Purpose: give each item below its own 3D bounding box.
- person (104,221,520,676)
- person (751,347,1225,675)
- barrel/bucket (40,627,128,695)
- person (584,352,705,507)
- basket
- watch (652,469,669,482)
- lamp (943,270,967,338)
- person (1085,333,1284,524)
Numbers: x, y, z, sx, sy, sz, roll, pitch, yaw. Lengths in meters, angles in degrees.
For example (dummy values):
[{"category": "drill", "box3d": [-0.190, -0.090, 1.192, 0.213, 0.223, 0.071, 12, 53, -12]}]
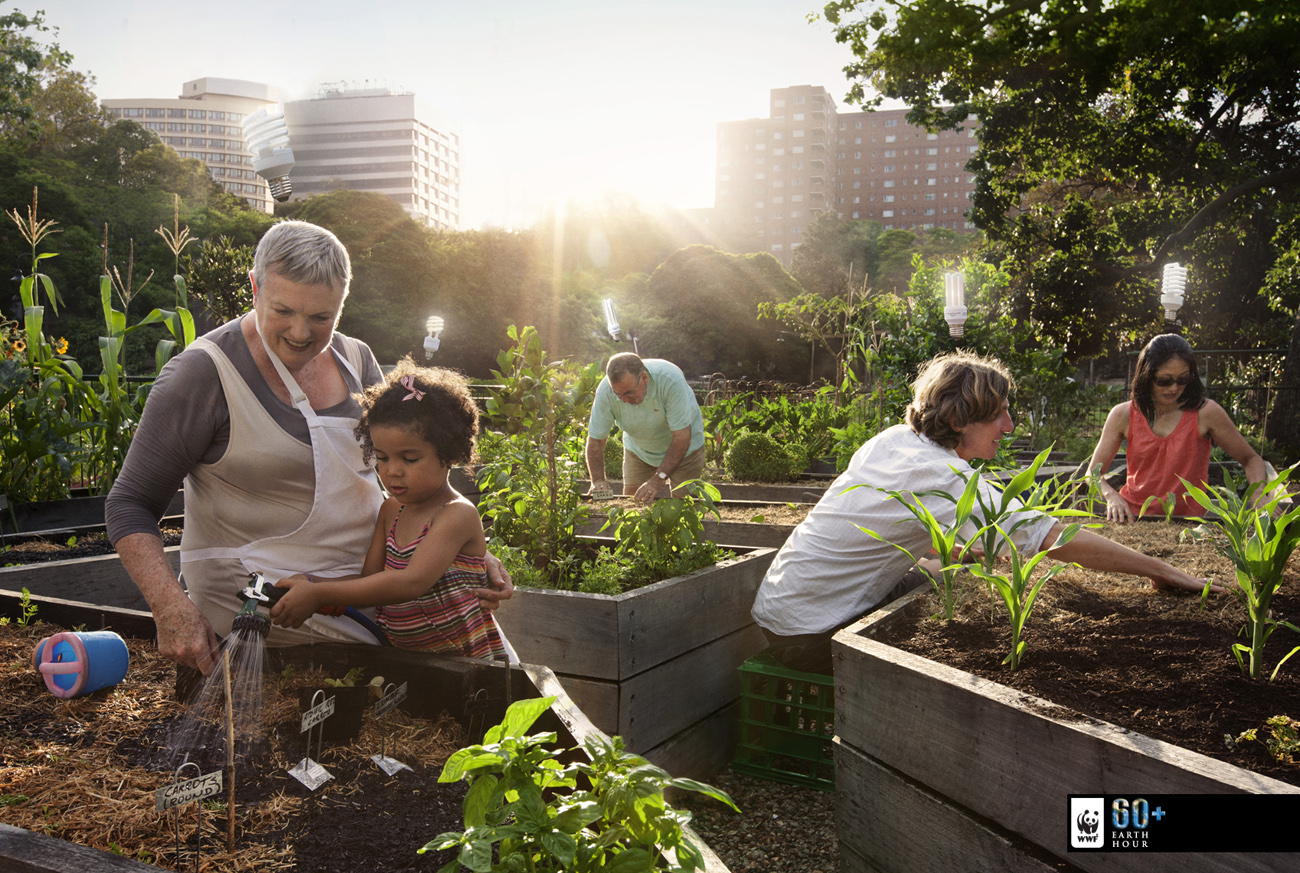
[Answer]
[{"category": "person", "box3d": [-1.397, -0.009, 3.347, 0.973, 1.531, 0.601, -6, 8, -37]}, {"category": "person", "box3d": [1.144, 0.400, 4.090, 1.644, 1.512, 0.992, 3, 7, 27]}, {"category": "barrel/bucket", "box3d": [-1.992, 0.776, 3.321, 0.298, 0.179, 0.214, -1, 4, 20]}, {"category": "person", "box3d": [-0.080, -0.071, 7.027, 0.890, 1.142, 1.764, 0, 6, 7]}, {"category": "basket", "box3d": [0.638, 1.340, 4.478, 0.505, 0.375, 0.509, 3, 0, -1]}, {"category": "watch", "box3d": [0.073, 0.266, 6.563, 0.091, 0.048, 0.103, 5, 2, -4]}, {"category": "lamp", "box3d": [3.360, -1.487, 10.302, 0.196, 0.743, 0.834, 1, 6, 15]}, {"category": "person", "box3d": [2.871, 0.034, 5.132, 0.873, 1.103, 0.841, 1, 22, 31]}]
